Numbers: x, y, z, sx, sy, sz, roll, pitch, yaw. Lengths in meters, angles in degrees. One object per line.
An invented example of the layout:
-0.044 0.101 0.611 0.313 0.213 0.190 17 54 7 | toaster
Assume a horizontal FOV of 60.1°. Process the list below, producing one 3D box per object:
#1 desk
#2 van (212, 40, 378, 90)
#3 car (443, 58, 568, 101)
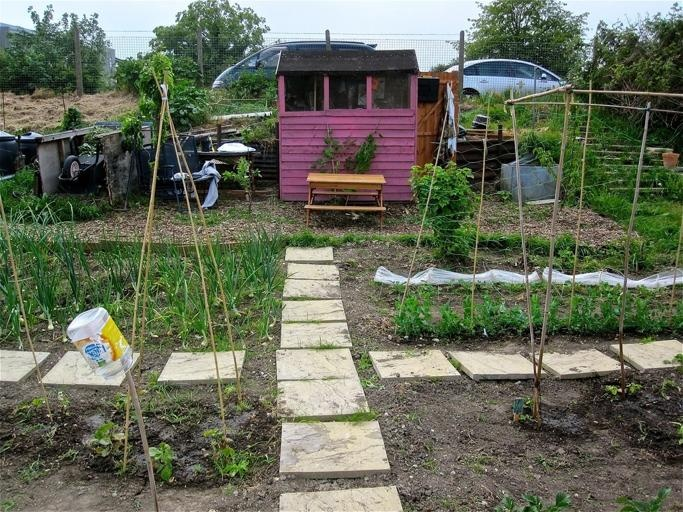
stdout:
0.109 -0.982 9.855 1.266 0.742 1.757 1 13 2 | desk
-1.632 -5.109 15.778 3.878 1.283 1.531 4 14 15 | van
4.680 -5.011 16.464 2.498 1.082 2.119 3 13 10 | car
